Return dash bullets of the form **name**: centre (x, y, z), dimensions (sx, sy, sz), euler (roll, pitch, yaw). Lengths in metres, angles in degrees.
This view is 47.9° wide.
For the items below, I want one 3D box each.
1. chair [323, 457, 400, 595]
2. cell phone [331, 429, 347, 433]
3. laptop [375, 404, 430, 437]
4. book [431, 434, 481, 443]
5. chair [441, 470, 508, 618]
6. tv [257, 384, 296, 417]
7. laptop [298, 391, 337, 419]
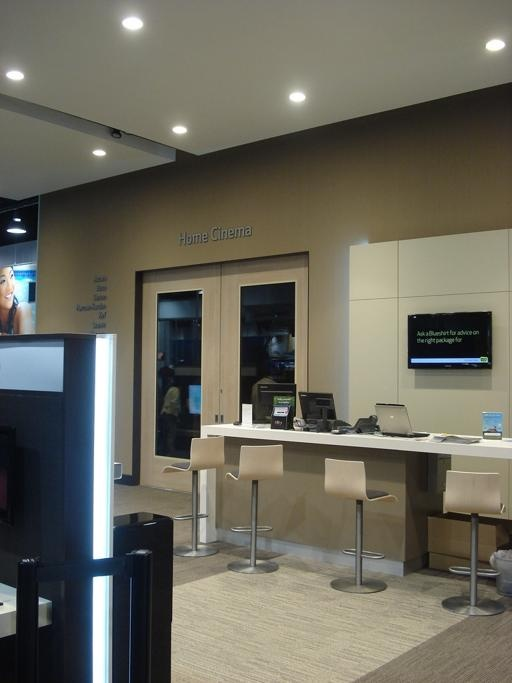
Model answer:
- **chair**: centre (0.794, 1.341, 4.294), dimensions (0.499, 0.928, 0.531), euler (-4, -7, 33)
- **cell phone**: centre (0.694, 0.751, 4.824), dimensions (0.118, 0.029, 0.158), euler (-1, -6, 7)
- **laptop**: centre (1.167, 0.621, 4.650), dimensions (0.295, 0.267, 0.345), euler (-2, 1, -38)
- **book**: centre (1.518, 0.744, 4.389), dimensions (0.349, 0.037, 0.613), euler (-2, -6, 20)
- **chair**: centre (1.438, 1.305, 3.861), dimensions (0.398, 0.896, 0.436), euler (-2, -6, 18)
- **tv**: centre (0.184, 0.585, 5.525), dimensions (0.368, 0.352, 0.360), euler (0, -6, -1)
- **laptop**: centre (0.544, 0.569, 5.145), dimensions (0.354, 0.352, 0.168), euler (2, 4, 38)
